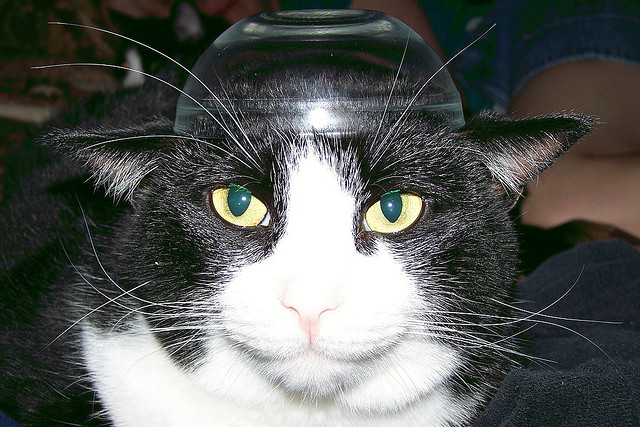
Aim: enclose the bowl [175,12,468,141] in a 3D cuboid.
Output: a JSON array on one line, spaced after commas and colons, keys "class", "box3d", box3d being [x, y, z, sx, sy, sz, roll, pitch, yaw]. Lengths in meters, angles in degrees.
[{"class": "bowl", "box3d": [0.004, -0.308, 1.446, 0.569, 0.538, 0.269, -2, -71, 2]}]
